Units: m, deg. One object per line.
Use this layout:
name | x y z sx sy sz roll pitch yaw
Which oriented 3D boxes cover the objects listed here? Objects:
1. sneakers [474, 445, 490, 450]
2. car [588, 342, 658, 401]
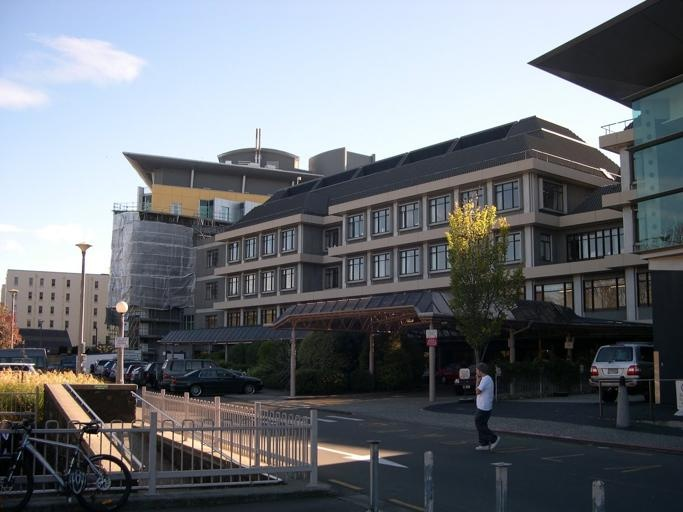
sneakers | 3.906 5.336 22.676 0.383 0.142 0.143 -3 -6 44
car | 11.580 4.733 33.407 2.163 2.436 3.077 -5 -10 29
